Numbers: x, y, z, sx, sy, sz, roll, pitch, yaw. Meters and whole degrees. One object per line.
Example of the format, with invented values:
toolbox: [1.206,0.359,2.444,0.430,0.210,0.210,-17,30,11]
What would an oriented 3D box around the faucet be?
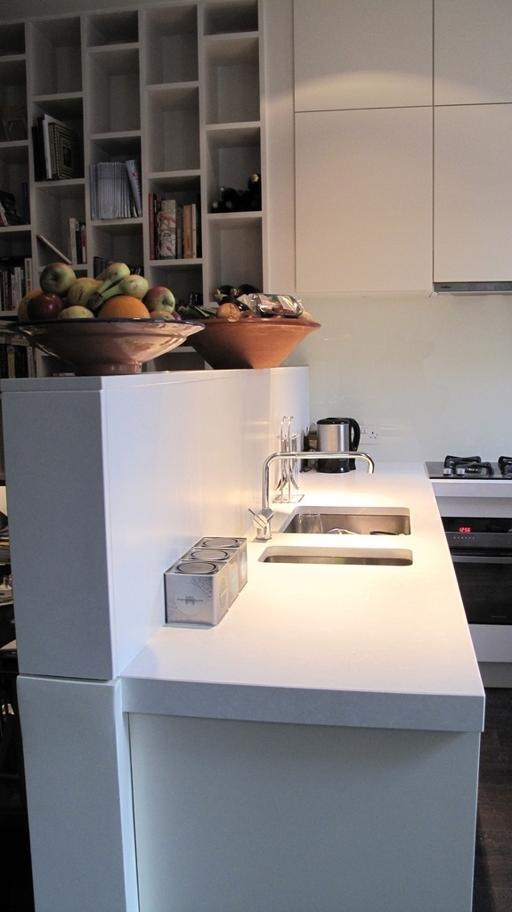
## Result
faucet: [0.148,0.073,1.846,0.344,0.298,0.189,-1,8,5]

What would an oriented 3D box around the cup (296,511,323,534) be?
cup: [0.156,0.199,2.134,0.057,0.064,0.060,-1,5,0]

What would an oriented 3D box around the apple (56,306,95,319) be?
apple: [-0.221,-0.175,0.892,0.039,0.022,0.053,-4,5,-16]

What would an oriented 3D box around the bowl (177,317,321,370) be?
bowl: [-0.023,-0.298,1.901,0.221,0.087,0.233,-2,4,0]

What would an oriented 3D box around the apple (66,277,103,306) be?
apple: [-0.224,-0.212,0.943,0.046,0.039,0.038,-4,5,-23]

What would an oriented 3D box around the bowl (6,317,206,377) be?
bowl: [-0.201,-0.139,0.965,0.219,0.072,0.193,-2,5,9]

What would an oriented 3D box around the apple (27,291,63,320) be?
apple: [-0.263,-0.184,0.903,0.034,0.037,0.035,-20,3,21]

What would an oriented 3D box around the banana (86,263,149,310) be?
banana: [-0.182,-0.204,0.977,0.066,0.032,0.069,-34,39,10]

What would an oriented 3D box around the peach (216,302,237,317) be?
peach: [-0.076,-0.369,1.829,0.034,0.029,0.041,1,15,2]

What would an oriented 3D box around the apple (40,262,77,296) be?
apple: [-0.256,-0.225,0.943,0.042,0.046,0.044,10,13,32]
